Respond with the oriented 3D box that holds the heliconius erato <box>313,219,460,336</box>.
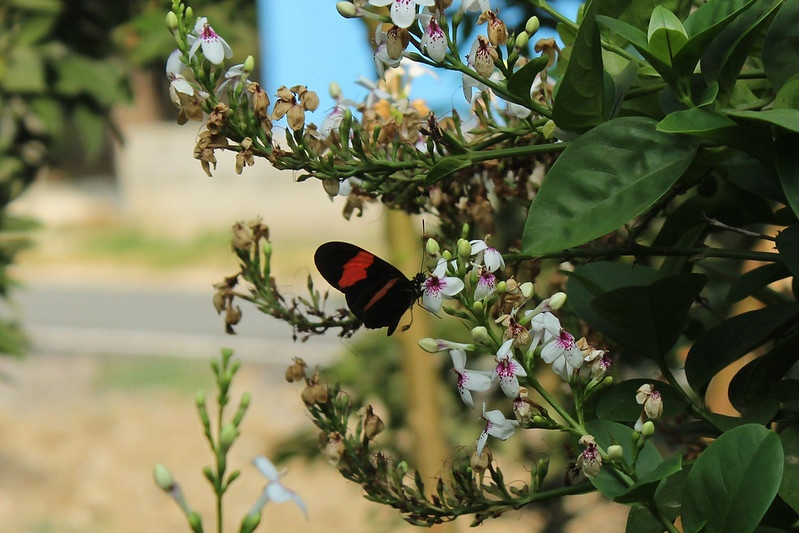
[{"bbox_3d":[-0.034,0.079,3.746,0.354,0.348,0.509,1,10,5],"label":"heliconius erato"}]
